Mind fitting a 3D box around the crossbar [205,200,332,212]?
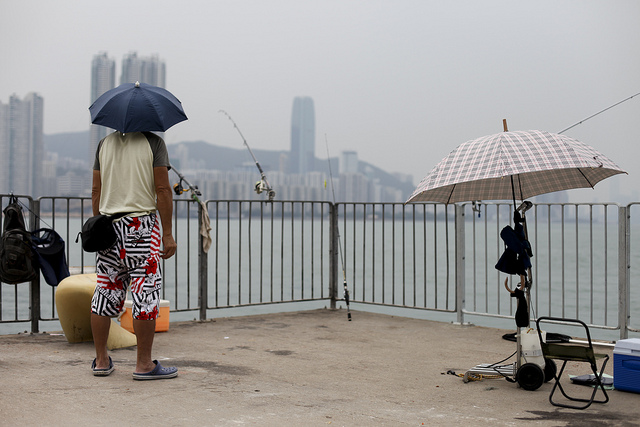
[{"bbox_3d":[-5.121,-0.915,135.552,11.668,0.924,0.508,-1,-3,-5],"label":"crossbar"}]
